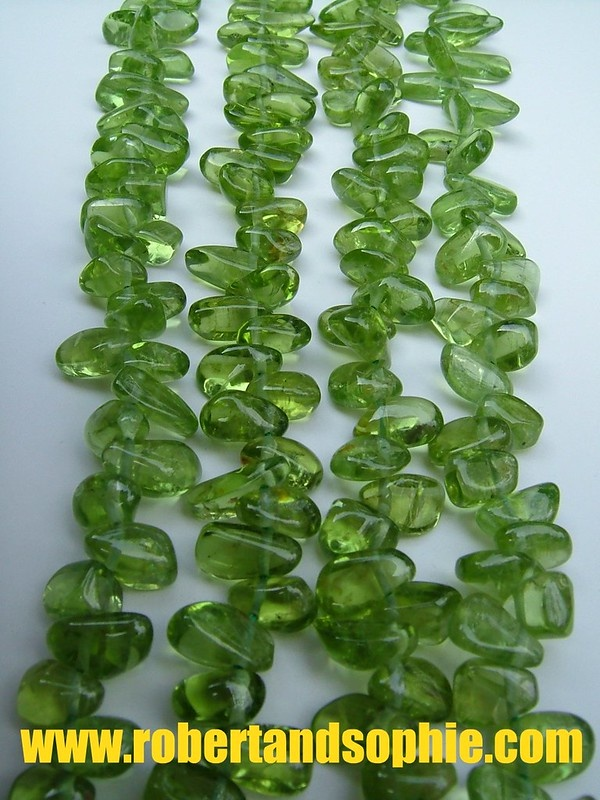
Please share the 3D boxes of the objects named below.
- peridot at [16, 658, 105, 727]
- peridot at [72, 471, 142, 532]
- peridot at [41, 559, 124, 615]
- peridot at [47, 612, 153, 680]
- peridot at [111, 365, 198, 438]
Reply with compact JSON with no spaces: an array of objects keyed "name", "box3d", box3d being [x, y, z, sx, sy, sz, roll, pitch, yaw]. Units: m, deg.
[{"name":"peridot","box3d":[-0.148,0.175,0.513,0.057,0.028,0.040,-1,1,13]},{"name":"peridot","box3d":[-0.137,0.072,0.573,0.048,0.025,0.038,13,61,-7]},{"name":"peridot","box3d":[-0.141,0.125,0.539,0.048,0.031,0.033,2,20,-6]},{"name":"peridot","box3d":[-0.133,0.145,0.530,0.069,0.019,0.043,-2,7,-17]},{"name":"peridot","box3d":[-0.119,0.008,0.688,0.084,0.026,0.039,35,48,1]}]
